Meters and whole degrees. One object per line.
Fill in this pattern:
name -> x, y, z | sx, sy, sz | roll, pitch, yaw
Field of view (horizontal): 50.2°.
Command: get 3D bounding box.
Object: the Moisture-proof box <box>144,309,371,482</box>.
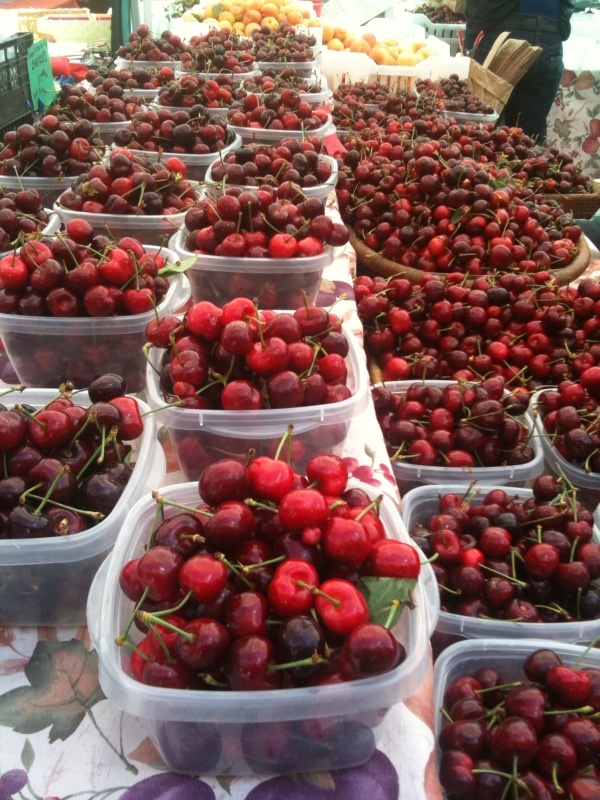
Moisture-proof box -> -0.081, 0.042, 1.368 | 0.436, 0.266, 0.399 | 1, 34, -2

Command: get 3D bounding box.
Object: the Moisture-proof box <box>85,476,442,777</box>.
Moisture-proof box -> -0.072, 0.376, 0.949 | 0.452, 0.235, 0.494 | -1, 34, -7
